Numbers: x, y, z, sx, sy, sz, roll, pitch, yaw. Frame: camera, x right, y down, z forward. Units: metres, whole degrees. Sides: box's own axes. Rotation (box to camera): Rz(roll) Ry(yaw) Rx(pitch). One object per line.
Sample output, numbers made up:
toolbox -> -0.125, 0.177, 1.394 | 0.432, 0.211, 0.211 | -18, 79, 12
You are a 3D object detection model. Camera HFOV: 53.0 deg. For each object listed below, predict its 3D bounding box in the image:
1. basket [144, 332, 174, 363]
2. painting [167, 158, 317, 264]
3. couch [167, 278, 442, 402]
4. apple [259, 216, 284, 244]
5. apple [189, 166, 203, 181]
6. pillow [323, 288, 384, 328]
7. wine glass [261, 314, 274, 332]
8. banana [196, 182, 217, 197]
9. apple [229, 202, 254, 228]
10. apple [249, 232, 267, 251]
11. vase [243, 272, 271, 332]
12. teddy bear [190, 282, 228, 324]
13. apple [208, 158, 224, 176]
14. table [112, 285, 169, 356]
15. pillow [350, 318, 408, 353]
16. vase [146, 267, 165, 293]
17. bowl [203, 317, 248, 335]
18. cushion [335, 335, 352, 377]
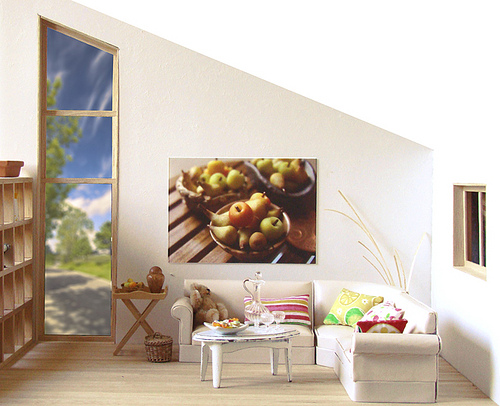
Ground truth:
basket -> -1.077, 1.677, 5.865 | 0.280, 0.287, 0.323 | 0, 0, -34
painting -> -0.057, 0.198, 6.781 | 1.796, 0.094, 2.620 | 1, -38, 9
couch -> 0.729, 1.430, 5.593 | 2.568, 0.871, 1.410 | 2, 4, 21
apple -> 0.297, 0.343, 6.660 | 0.321, 0.394, 0.325 | 1, -2, 34
apple -> -0.696, -0.383, 6.547 | 0.165, 0.177, 0.213 | 0, -22, -4
pillow -> 1.223, 1.231, 5.958 | 0.694, 0.215, 0.698 | -10, 24, 45
wine glass -> 0.167, 1.270, 5.271 | 0.145, 0.185, 0.153 | 0, -8, -1
banana -> -0.560, -0.176, 6.528 | 0.241, 0.191, 0.012 | 0, 4, 2
apple -> -0.122, 0.151, 6.514 | 0.281, 0.360, 0.283 | -7, -4, 35
apple -> 0.093, 0.532, 6.586 | 0.204, 0.263, 0.216 | 11, -19, -32
vase -> 0.056, 1.078, 5.449 | 0.315, 0.653, 0.282 | 2, -2, -38
teddy bear -> -0.516, 1.198, 6.017 | 0.360, 0.569, 0.435 | -17, -13, 27
apple -> -0.450, -0.456, 6.521 | 0.182, 0.244, 0.186 | -4, 8, -39
table -> -1.410, 1.417, 6.387 | 0.727, 0.998, 0.763 | 1, -2, -6
pillow -> 1.320, 1.233, 4.940 | 0.516, 0.121, 0.261 | -1, 4, -23
vase -> -1.140, 0.938, 6.062 | 0.197, 0.319, 0.159 | -2, 5, -28
bowl -> -0.245, 1.298, 5.210 | 0.440, 0.133, 0.173 | 0, 4, -1
cushion -> 0.975, 1.566, 5.172 | 0.168, 0.158, 0.331 | -2, 6, -5
